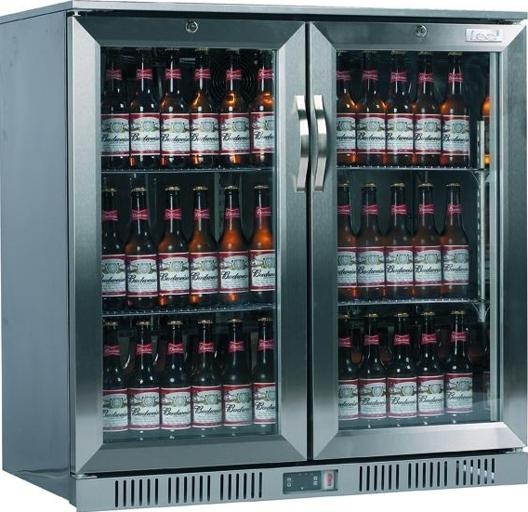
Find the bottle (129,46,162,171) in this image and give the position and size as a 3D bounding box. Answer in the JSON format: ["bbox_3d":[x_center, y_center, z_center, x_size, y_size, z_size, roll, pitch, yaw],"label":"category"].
[{"bbox_3d":[-0.350,-0.443,2.030,0.105,0.344,0.226,5,-39,-9],"label":"bottle"}]

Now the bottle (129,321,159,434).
[{"bbox_3d":[-0.350,0.360,2.020,0.101,0.291,0.211,4,-39,-8],"label":"bottle"}]
